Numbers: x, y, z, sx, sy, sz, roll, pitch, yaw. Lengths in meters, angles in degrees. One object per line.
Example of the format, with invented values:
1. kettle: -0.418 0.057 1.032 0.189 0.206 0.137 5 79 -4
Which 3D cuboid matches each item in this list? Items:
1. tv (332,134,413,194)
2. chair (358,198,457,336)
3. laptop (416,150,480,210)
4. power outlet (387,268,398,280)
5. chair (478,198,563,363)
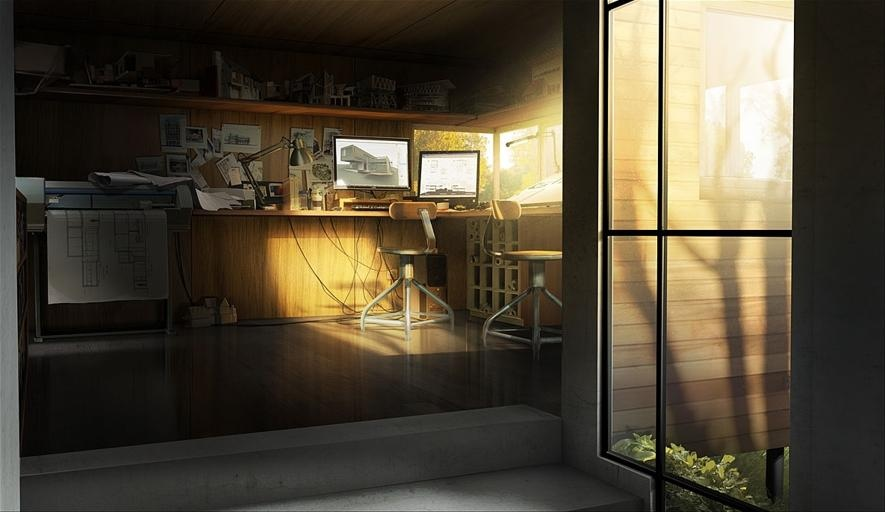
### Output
1. tv: -0.667 -0.882 6.221 0.663 0.382 0.051 0 1 -16
2. chair: -0.327 0.085 5.790 0.924 1.043 0.829 1 -7 -18
3. laptop: 0.063 -0.740 6.290 0.697 0.517 0.226 1 -2 2
4. power outlet: -0.508 0.192 6.706 0.145 0.120 0.104 4 7 25
5. chair: 0.663 0.097 5.507 0.663 1.133 1.595 -1 5 6
